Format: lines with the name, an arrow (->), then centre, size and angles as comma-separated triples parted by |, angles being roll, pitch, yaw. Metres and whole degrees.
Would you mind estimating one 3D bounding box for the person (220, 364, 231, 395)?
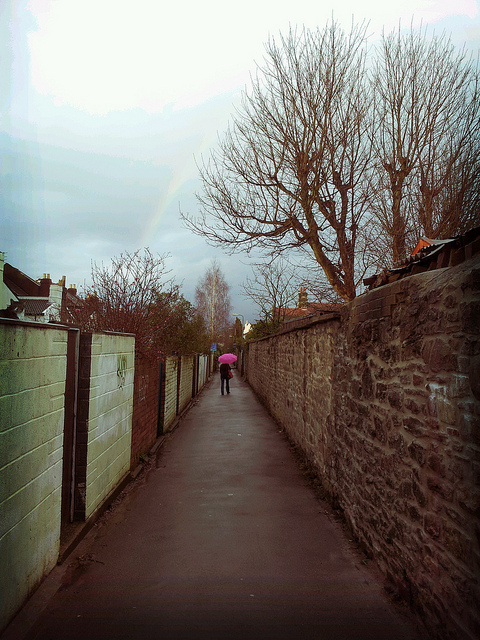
person -> -0.556, 2.253, 16.103 | 0.309, 1.151, 1.189 | 1, -4, -2
